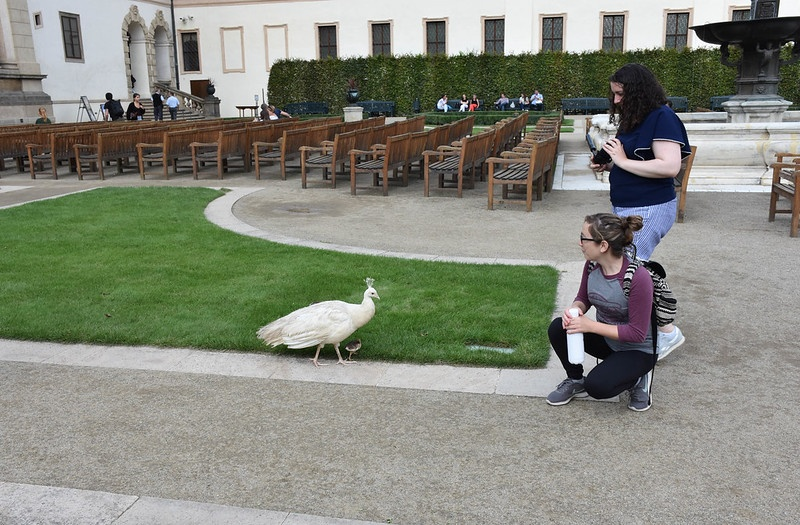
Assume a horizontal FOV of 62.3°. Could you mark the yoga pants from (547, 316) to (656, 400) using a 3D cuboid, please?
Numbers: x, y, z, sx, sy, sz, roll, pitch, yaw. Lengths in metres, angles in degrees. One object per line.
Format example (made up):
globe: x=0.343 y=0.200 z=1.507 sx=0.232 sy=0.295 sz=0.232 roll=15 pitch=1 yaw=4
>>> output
yoga pants: x=1.592 y=0.779 z=5.501 sx=0.744 sy=0.872 sz=0.654 roll=-1 pitch=16 yaw=2

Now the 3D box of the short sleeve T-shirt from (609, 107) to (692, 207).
short sleeve T-shirt: x=2.081 y=-0.892 z=5.651 sx=0.577 sy=0.853 sz=0.897 roll=0 pitch=3 yaw=-2

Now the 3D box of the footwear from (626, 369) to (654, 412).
footwear: x=1.883 y=1.018 z=5.225 sx=0.172 sy=0.380 sz=0.141 roll=0 pitch=9 yaw=-20

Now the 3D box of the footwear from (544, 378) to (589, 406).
footwear: x=1.319 y=1.030 z=5.255 sx=0.394 sy=0.170 sz=0.149 roll=-17 pitch=26 yaw=-12

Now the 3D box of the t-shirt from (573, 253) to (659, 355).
t-shirt: x=1.662 y=0.334 z=5.162 sx=0.300 sy=0.743 sz=0.579 roll=-16 pitch=20 yaw=-41

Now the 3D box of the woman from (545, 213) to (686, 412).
woman: x=1.689 y=0.395 z=5.239 sx=1.054 sy=1.481 sz=0.903 roll=0 pitch=7 yaw=14
